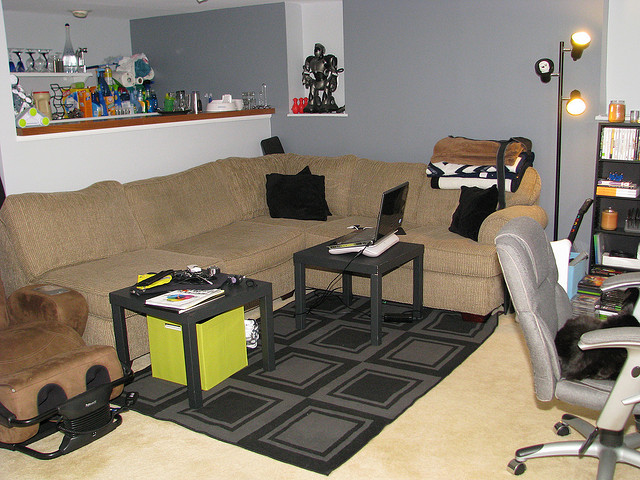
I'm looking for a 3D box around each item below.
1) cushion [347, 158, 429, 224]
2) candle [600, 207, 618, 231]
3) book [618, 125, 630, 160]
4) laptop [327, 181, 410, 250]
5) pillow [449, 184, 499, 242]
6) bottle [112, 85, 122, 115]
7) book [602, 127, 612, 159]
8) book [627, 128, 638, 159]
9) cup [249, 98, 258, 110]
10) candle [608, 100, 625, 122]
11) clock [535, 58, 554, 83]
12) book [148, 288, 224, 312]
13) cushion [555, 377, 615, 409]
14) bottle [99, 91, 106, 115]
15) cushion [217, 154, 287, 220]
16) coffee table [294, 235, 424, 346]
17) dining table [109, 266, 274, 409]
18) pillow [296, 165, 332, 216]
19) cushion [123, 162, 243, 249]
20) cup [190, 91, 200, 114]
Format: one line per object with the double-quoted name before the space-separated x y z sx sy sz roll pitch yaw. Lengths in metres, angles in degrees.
"cushion" 0.684 -0.431 5.092 0.936 0.605 0.537 6 -7 16
"candle" 2.479 -0.186 4.355 0.124 0.161 0.191 8 23 31
"book" 2.483 -0.796 4.152 0.054 0.209 0.231 3 11 18
"laptop" 0.383 -0.203 3.885 0.474 0.412 0.669 1 13 24
"pillow" 1.287 -0.244 4.273 0.259 0.430 0.500 -8 10 -14
"bottle" -2.182 -1.524 5.472 0.075 0.289 0.575 -11 20 -18
"book" 2.374 -0.805 4.206 0.048 0.191 0.146 3 11 20
"book" 2.537 -0.796 4.120 0.048 0.179 0.196 7 28 21
"cup" -0.775 -1.609 5.936 0.101 0.110 0.079 -2 20 4
"candle" 2.414 -1.050 4.133 0.160 0.170 0.156 1 6 13
"clock" 1.909 -1.446 4.324 0.128 0.190 0.195 5 21 22
"book" -0.803 0.338 3.012 0.359 0.030 0.283 6 21 26
"cushion" 1.134 0.645 2.194 0.148 0.055 0.154 2 9 35
"bottle" -2.312 -1.471 5.415 0.056 0.235 0.155 -12 21 -21
"cushion" -0.688 -0.587 4.992 0.166 0.620 0.701 -20 -3 44
"coffee table" 0.337 0.271 3.918 0.856 0.615 0.848 7 15 29
"dining table" -0.828 0.652 3.221 0.874 0.813 0.866 10 17 42
"pillow" -0.155 -0.461 5.088 0.140 0.431 0.468 -23 -3 21
"cushion" -1.192 -0.301 4.443 1.021 0.691 0.247 -24 4 -41
"cup" -1.369 -1.514 5.567 0.115 0.221 0.331 -9 20 -13
